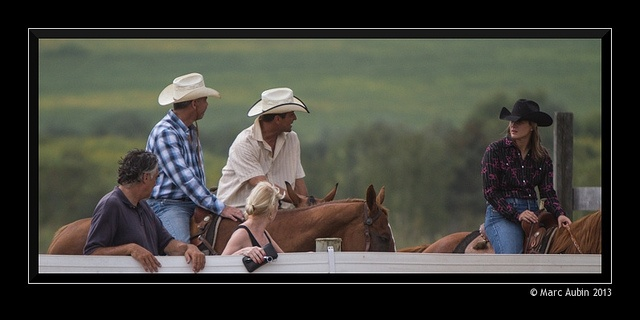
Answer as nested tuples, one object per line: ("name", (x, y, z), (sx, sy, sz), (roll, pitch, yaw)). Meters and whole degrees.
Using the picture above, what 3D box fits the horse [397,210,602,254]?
("horse", (5.187, 2.087, 42.297), (2.187, 1.418, 5.656), (0, 1, -42))

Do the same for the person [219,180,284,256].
("person", (-1.794, 1.667, 39.559), (1.438, 2.135, 0.490), (-2, -2, -4))

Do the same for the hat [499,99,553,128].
("hat", (5.684, -1.275, 40.596), (1.068, 0.382, 0.865), (11, -8, -12))

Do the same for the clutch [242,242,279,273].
("clutch", (-1.588, 2.611, 39.374), (1.037, 0.551, 0.300), (-28, 4, -6))
